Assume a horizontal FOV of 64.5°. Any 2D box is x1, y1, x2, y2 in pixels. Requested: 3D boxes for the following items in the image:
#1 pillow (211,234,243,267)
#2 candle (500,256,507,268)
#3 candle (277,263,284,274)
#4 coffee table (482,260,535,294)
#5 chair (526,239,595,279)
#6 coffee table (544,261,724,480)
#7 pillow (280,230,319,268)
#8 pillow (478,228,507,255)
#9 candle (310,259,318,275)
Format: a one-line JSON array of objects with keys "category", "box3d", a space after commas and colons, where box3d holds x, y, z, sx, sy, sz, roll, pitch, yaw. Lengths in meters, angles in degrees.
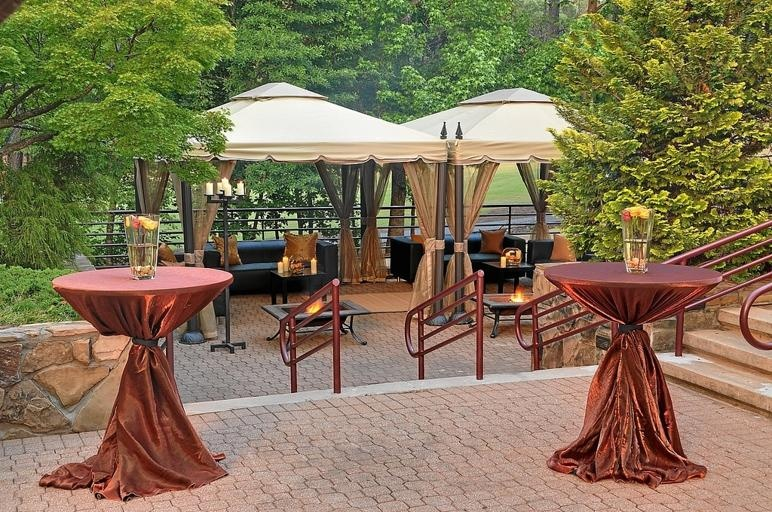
[{"category": "pillow", "box3d": [-2.964, -0.062, 11.350, 0.310, 0.609, 0.566, -13, 4, 18]}, {"category": "candle", "box3d": [2.206, 0.115, 11.373, 0.102, 0.188, 0.129, 1, 11, 7]}, {"category": "candle", "box3d": [-1.856, 0.222, 10.764, 0.098, 0.178, 0.188, -2, 11, -11]}, {"category": "coffee table", "box3d": [2.378, 0.532, 12.048, 0.949, 0.797, 0.892, -1, 2, -28]}, {"category": "chair", "box3d": [2.481, 0.023, 8.774, 0.798, 0.847, 0.340, 8, -27, 4]}, {"category": "coffee table", "box3d": [1.784, 0.807, 4.665, 1.590, 1.532, 1.458, 1, 2, 5]}, {"category": "pillow", "box3d": [-1.725, -0.149, 12.265, 0.707, 0.589, 0.251, 1, 0, 7]}, {"category": "pillow", "box3d": [2.352, -0.289, 13.480, 0.891, 0.749, 0.322, -1, 1, 11]}, {"category": "candle", "box3d": [-1.305, 0.195, 11.044, 0.126, 0.242, 0.368, -1, 10, -5]}]
